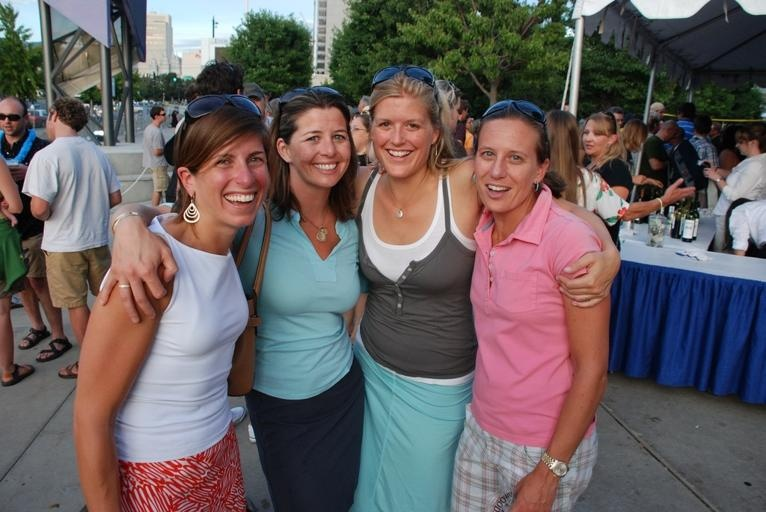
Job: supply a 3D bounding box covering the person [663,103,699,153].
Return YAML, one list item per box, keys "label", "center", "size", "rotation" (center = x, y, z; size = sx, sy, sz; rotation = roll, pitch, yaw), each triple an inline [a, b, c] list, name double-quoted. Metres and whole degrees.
- label: "person"
  center: [6.098, -2.677, 10.814]
  size: [0.833, 0.806, 0.390]
  rotation: [15, -10, -33]

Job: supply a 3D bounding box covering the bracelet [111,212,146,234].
- label: "bracelet"
  center: [-1.270, -0.162, 2.677]
  size: [0.120, 0.123, 0.034]
  rotation: [20, 6, 11]

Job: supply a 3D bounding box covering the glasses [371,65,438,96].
- label: "glasses"
  center: [0.133, -1.099, 3.299]
  size: [0.383, 0.158, 0.208]
  rotation: [2, 11, 4]

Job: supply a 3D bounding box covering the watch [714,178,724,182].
- label: "watch"
  center: [4.907, -1.105, 7.863]
  size: [0.081, 0.020, 0.084]
  rotation: [-4, 22, 8]

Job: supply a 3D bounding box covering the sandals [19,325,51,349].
- label: "sandals"
  center: [-3.596, 0.847, 5.557]
  size: [0.109, 0.144, 0.333]
  rotation: [1, 11, 7]

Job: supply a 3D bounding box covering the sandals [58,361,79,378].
- label: "sandals"
  center: [-2.966, 1.085, 5.082]
  size: [0.185, 0.121, 0.118]
  rotation: [-1, 11, -9]

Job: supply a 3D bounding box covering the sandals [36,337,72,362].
- label: "sandals"
  center: [-3.262, 0.928, 5.368]
  size: [0.139, 0.138, 0.335]
  rotation: [1, 7, 7]

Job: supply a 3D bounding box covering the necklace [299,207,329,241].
- label: "necklace"
  center: [-0.422, -0.176, 3.290]
  size: [0.121, 0.216, 0.053]
  rotation: [-35, 8, -29]

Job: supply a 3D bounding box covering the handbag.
- label: "handbag"
  center: [-0.741, 0.288, 3.022]
  size: [0.230, 1.138, 0.366]
  rotation: [-1, 11, -6]

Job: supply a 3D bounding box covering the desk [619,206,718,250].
- label: "desk"
  center: [3.689, -0.445, 6.694]
  size: [1.110, 0.391, 1.672]
  rotation: [2, 11, 38]

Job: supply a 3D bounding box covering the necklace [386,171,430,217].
- label: "necklace"
  center: [0.161, -0.372, 3.294]
  size: [0.272, 0.291, 0.105]
  rotation: [-2, -5, 30]
